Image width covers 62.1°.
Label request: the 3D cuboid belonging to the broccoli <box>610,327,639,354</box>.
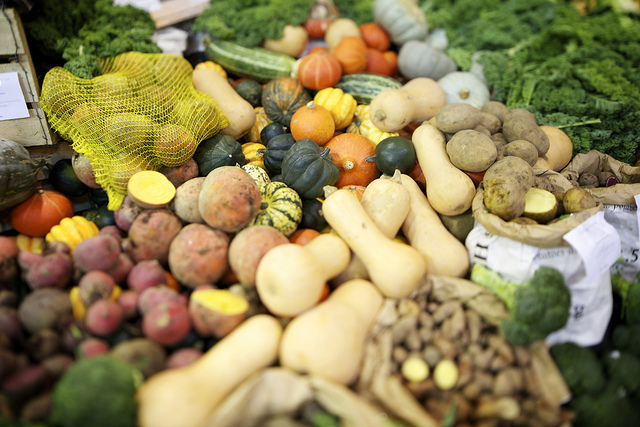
[{"bbox_3d":[1.931,0.806,3.364,0.120,0.087,0.156,6,41,19],"label":"broccoli"}]

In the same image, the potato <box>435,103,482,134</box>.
[{"bbox_3d":[1.084,-0.760,4.166,0.278,0.154,0.232,-3,36,13],"label":"potato"}]

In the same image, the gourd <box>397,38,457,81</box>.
[{"bbox_3d":[1.130,-1.563,5.268,0.550,0.383,0.578,12,40,39],"label":"gourd"}]

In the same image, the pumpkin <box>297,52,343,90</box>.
[{"bbox_3d":[-0.005,-1.273,4.774,0.327,0.327,0.337,9,29,30],"label":"pumpkin"}]

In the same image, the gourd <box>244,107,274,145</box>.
[{"bbox_3d":[-0.578,-0.778,4.835,0.297,0.289,0.304,4,85,-9],"label":"gourd"}]

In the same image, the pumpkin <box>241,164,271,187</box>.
[{"bbox_3d":[-0.504,-0.314,4.209,0.166,0.166,0.099,23,86,50],"label":"pumpkin"}]

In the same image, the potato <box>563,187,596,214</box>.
[{"bbox_3d":[1.800,-0.084,3.746,0.145,0.196,0.156,5,68,-11],"label":"potato"}]

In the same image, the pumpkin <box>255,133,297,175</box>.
[{"bbox_3d":[-0.364,-0.561,4.491,0.385,0.311,0.298,-10,25,-16],"label":"pumpkin"}]

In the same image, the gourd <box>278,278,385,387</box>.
[{"bbox_3d":[0.100,0.762,3.569,0.495,0.315,0.674,35,70,15],"label":"gourd"}]

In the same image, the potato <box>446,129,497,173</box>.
[{"bbox_3d":[1.143,-0.468,4.015,0.368,0.225,0.244,34,57,15],"label":"potato"}]

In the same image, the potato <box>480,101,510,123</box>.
[{"bbox_3d":[1.458,-0.863,4.466,0.161,0.125,0.212,-17,35,-24],"label":"potato"}]

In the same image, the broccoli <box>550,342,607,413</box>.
[{"bbox_3d":[1.608,1.002,3.267,0.252,0.100,0.342,-16,63,7],"label":"broccoli"}]

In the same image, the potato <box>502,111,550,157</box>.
[{"bbox_3d":[1.609,-0.632,4.178,0.406,0.211,0.259,51,28,20],"label":"potato"}]

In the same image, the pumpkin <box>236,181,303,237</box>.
[{"bbox_3d":[-0.286,-0.084,4.133,0.383,0.236,0.382,-20,19,5],"label":"pumpkin"}]

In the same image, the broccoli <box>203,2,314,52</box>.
[{"bbox_3d":[-0.616,-1.865,5.123,0.757,0.259,0.538,-12,55,-5],"label":"broccoli"}]

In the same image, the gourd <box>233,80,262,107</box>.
[{"bbox_3d":[-0.620,-1.094,4.914,0.231,0.238,0.236,-30,9,5],"label":"gourd"}]

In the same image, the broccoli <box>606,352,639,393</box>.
[{"bbox_3d":[1.848,0.972,3.246,0.171,0.069,0.260,17,54,4],"label":"broccoli"}]

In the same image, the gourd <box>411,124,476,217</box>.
[{"bbox_3d":[0.901,-0.330,4.133,0.305,0.305,0.756,-33,64,23],"label":"gourd"}]

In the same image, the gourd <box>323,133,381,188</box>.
[{"bbox_3d":[0.264,-0.443,4.302,0.403,0.424,0.406,-4,6,7],"label":"gourd"}]

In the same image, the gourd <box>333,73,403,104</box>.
[{"bbox_3d":[0.435,-1.190,4.862,0.572,0.215,0.284,9,37,11],"label":"gourd"}]

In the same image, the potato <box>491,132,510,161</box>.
[{"bbox_3d":[1.389,-0.529,4.119,0.120,0.088,0.253,-19,37,17],"label":"potato"}]

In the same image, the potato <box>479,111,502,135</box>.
[{"bbox_3d":[1.370,-0.735,4.258,0.135,0.118,0.200,-21,49,-39],"label":"potato"}]

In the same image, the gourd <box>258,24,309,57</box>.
[{"bbox_3d":[-0.312,-1.689,5.204,0.373,0.230,0.277,2,16,-3],"label":"gourd"}]

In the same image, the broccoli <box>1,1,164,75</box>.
[{"bbox_3d":[-1.921,-1.523,4.372,0.829,0.255,0.772,34,31,-7],"label":"broccoli"}]

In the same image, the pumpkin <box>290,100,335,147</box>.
[{"bbox_3d":[-0.027,-0.763,4.418,0.330,0.348,0.344,7,26,24],"label":"pumpkin"}]

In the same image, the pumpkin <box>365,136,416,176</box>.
[{"bbox_3d":[0.559,-0.452,4.135,0.321,0.246,0.251,-5,79,3],"label":"pumpkin"}]

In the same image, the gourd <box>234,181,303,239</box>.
[{"bbox_3d":[-0.325,-0.058,3.859,0.421,0.249,0.418,-12,77,9],"label":"gourd"}]

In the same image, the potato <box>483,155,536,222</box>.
[{"bbox_3d":[1.361,-0.189,3.889,0.358,0.283,0.635,16,42,22],"label":"potato"}]

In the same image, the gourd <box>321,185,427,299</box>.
[{"bbox_3d":[0.406,0.203,3.974,0.417,0.424,1.028,-42,77,15],"label":"gourd"}]

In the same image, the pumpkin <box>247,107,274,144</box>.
[{"bbox_3d":[-0.515,-0.757,4.623,0.217,0.210,0.262,25,19,-14],"label":"pumpkin"}]

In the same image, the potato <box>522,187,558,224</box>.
[{"bbox_3d":[1.550,-0.071,3.797,0.229,0.145,0.240,-23,56,-1],"label":"potato"}]

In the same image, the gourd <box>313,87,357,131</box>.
[{"bbox_3d":[0.135,-0.939,4.723,0.310,0.348,0.350,-7,44,-30],"label":"gourd"}]

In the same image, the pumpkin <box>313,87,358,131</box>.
[{"bbox_3d":[0.139,-0.974,4.719,0.307,0.342,0.336,-40,34,-24],"label":"pumpkin"}]

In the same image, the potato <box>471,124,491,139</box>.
[{"bbox_3d":[1.273,-0.659,4.193,0.096,0.046,0.127,-20,52,-35],"label":"potato"}]

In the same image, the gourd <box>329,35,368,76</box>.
[{"bbox_3d":[0.260,-1.543,5.023,0.286,0.245,0.280,8,80,-14],"label":"gourd"}]

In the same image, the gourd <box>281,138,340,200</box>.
[{"bbox_3d":[-0.068,-0.376,4.275,0.436,0.434,0.449,-36,20,10],"label":"gourd"}]

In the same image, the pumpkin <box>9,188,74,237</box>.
[{"bbox_3d":[-2.081,-0.039,4.133,0.382,0.387,0.390,2,17,3],"label":"pumpkin"}]

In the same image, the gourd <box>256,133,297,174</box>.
[{"bbox_3d":[-0.389,-0.487,4.514,0.391,0.291,0.312,-9,82,-23],"label":"gourd"}]

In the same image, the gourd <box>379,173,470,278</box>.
[{"bbox_3d":[0.819,0.162,4.110,0.393,0.378,0.969,-36,65,16],"label":"gourd"}]

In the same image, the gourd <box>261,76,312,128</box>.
[{"bbox_3d":[-0.356,-1.092,4.779,0.345,0.335,0.355,16,29,-29],"label":"gourd"}]

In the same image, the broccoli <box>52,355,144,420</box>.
[{"bbox_3d":[-1.353,1.081,3.281,0.494,0.188,0.350,4,54,-6],"label":"broccoli"}]

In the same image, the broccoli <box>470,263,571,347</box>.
[{"bbox_3d":[1.353,0.545,3.574,0.480,0.327,0.618,-15,58,-18],"label":"broccoli"}]

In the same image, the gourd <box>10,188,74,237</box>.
[{"bbox_3d":[-2.100,-0.043,4.153,0.379,0.384,0.384,-2,13,-3],"label":"gourd"}]

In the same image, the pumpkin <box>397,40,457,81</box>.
[{"bbox_3d":[1.015,-1.491,5.085,0.421,0.303,0.444,21,12,7],"label":"pumpkin"}]

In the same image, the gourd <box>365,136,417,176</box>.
[{"bbox_3d":[0.632,-0.465,4.248,0.413,0.338,0.326,-1,6,29],"label":"gourd"}]

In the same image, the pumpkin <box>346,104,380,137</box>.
[{"bbox_3d":[0.378,-0.795,4.720,0.268,0.280,0.246,-18,9,6],"label":"pumpkin"}]

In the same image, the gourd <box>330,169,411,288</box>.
[{"bbox_3d":[0.434,0.088,4.050,0.409,0.411,0.959,6,71,60],"label":"gourd"}]

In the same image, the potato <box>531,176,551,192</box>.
[{"bbox_3d":[1.641,-0.220,3.946,0.121,0.050,0.114,-3,26,-35],"label":"potato"}]

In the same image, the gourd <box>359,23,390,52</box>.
[{"bbox_3d":[0.551,-1.798,5.506,0.268,0.279,0.273,-41,29,-7],"label":"gourd"}]

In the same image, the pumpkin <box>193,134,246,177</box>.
[{"bbox_3d":[-0.821,-0.435,4.334,0.333,0.339,0.342,2,49,51],"label":"pumpkin"}]

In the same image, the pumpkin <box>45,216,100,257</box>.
[{"bbox_3d":[-1.891,0.131,4.077,0.357,0.218,0.366,-19,10,-34],"label":"pumpkin"}]

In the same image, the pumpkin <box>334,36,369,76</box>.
[{"bbox_3d":[0.337,-1.496,5.033,0.324,0.339,0.340,8,43,19],"label":"pumpkin"}]

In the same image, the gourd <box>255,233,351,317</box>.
[{"bbox_3d":[-0.138,0.402,3.785,0.592,0.271,0.442,-39,88,-28],"label":"gourd"}]

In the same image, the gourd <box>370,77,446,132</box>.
[{"bbox_3d":[0.764,-0.936,4.502,0.704,0.365,0.368,-28,86,-40],"label":"gourd"}]

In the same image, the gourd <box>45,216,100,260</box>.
[{"bbox_3d":[-1.859,0.106,4.054,0.282,0.173,0.308,14,15,33],"label":"gourd"}]

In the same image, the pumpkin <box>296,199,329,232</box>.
[{"bbox_3d":[-0.034,0.001,4.181,0.223,0.268,0.218,-4,9,6],"label":"pumpkin"}]
